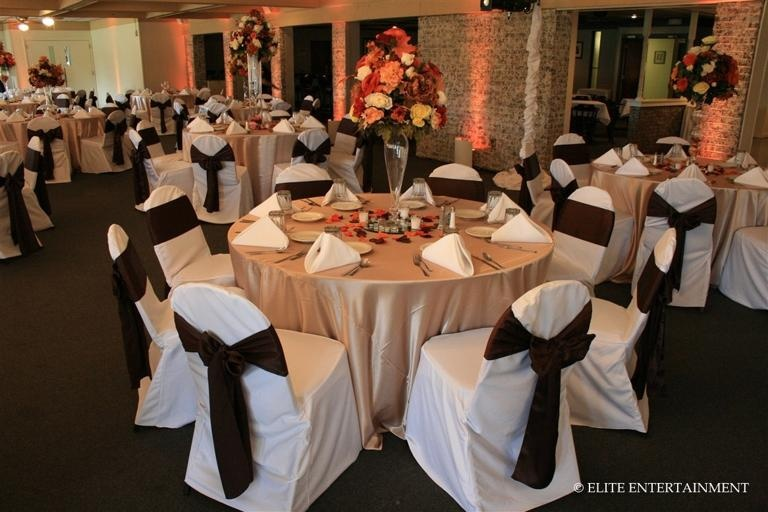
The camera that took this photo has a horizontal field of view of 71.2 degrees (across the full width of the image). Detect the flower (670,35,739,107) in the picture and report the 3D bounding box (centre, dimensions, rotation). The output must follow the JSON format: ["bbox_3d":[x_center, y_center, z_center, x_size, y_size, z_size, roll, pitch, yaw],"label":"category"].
[{"bbox_3d":[3.781,-2.062,6.173,0.762,0.753,0.749,-3,32,32],"label":"flower"}]

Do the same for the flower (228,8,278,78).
[{"bbox_3d":[-2.149,-3.523,8.991,1.004,1.332,1.082,-6,28,-17],"label":"flower"}]

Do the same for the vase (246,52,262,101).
[{"bbox_3d":[-2.162,-3.064,8.975,0.179,0.637,0.147,8,13,32],"label":"vase"}]

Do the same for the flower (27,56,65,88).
[{"bbox_3d":[-7.120,-3.882,11.282,0.597,0.624,0.521,-4,20,-9],"label":"flower"}]

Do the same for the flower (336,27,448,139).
[{"bbox_3d":[0.052,-1.242,3.918,0.651,0.722,0.654,-21,42,-27],"label":"flower"}]

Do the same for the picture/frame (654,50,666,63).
[{"bbox_3d":[8.058,-5.859,15.657,0.353,0.449,0.029,8,7,41],"label":"picture/frame"}]
